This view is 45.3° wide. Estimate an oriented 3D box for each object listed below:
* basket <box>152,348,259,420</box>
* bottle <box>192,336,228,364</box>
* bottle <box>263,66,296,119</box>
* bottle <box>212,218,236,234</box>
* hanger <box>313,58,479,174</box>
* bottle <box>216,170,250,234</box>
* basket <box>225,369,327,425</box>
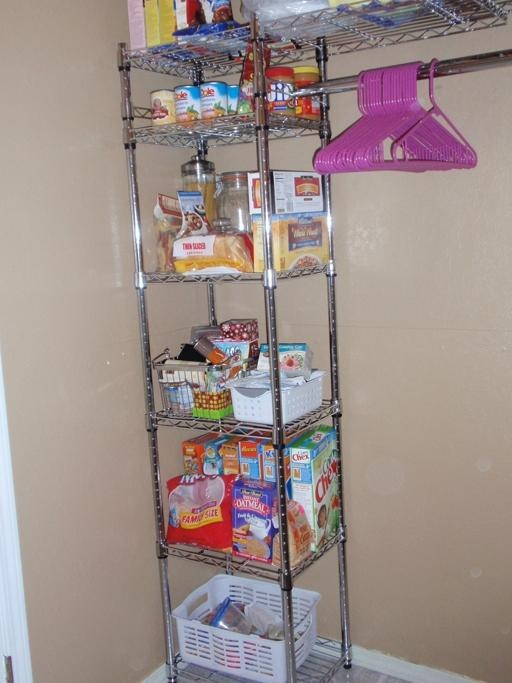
[{"bbox_3d":[-0.155,0.108,1.604,0.182,0.112,0.223,2,-2,22],"label":"basket"},{"bbox_3d":[-0.112,0.026,1.569,0.057,0.064,0.099,-15,17,-33],"label":"bottle"},{"bbox_3d":[0.059,-0.590,1.460,0.050,0.114,0.180,0,15,23],"label":"bottle"},{"bbox_3d":[-0.081,-0.293,1.564,0.048,0.032,0.136,-13,15,-27],"label":"bottle"},{"bbox_3d":[0.338,-0.463,1.282,0.453,0.215,0.217,-18,18,-41],"label":"hanger"},{"bbox_3d":[-0.056,-0.355,1.572,0.082,0.148,0.159,-7,14,-1],"label":"bottle"},{"bbox_3d":[0.059,0.130,1.563,0.132,0.078,0.193,1,6,29],"label":"basket"}]
